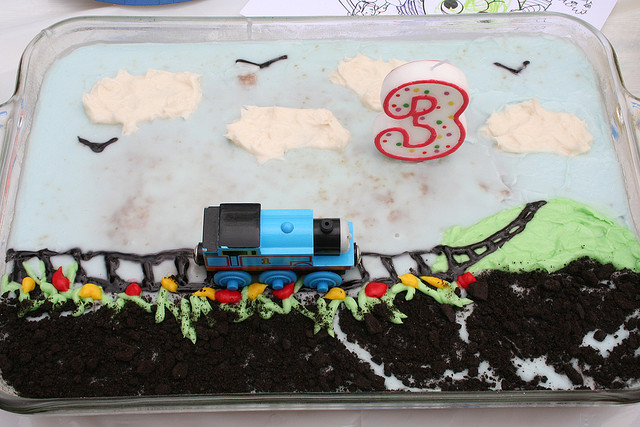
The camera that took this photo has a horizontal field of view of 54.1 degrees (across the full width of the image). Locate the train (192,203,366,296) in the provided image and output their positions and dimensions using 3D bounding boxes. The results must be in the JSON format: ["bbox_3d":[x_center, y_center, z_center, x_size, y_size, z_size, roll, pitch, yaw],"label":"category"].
[{"bbox_3d":[-0.517,0.452,7.368,1.916,0.755,0.923,1,66,-2],"label":"train"}]
